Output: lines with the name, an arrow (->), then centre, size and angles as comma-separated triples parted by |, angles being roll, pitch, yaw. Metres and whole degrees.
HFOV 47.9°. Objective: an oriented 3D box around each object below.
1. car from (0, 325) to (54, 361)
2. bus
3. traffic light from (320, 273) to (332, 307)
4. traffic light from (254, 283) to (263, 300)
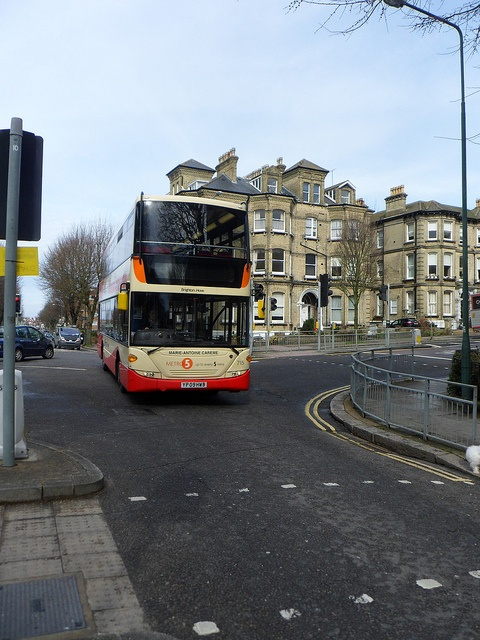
car -> -6.975, 0.821, 17.919 | 1.024, 1.133, 1.990 | 1, 5, 24
bus -> -1.698, -0.338, 12.755 | 1.588, 3.184, 5.776 | 0, -2, -15
traffic light -> 4.234, -1.483, 26.918 | 0.527, 1.623, 2.814 | 0, 1, 9
traffic light -> 0.806, -1.217, 23.902 | 0.375, 0.687, 0.599 | 0, -4, -2
